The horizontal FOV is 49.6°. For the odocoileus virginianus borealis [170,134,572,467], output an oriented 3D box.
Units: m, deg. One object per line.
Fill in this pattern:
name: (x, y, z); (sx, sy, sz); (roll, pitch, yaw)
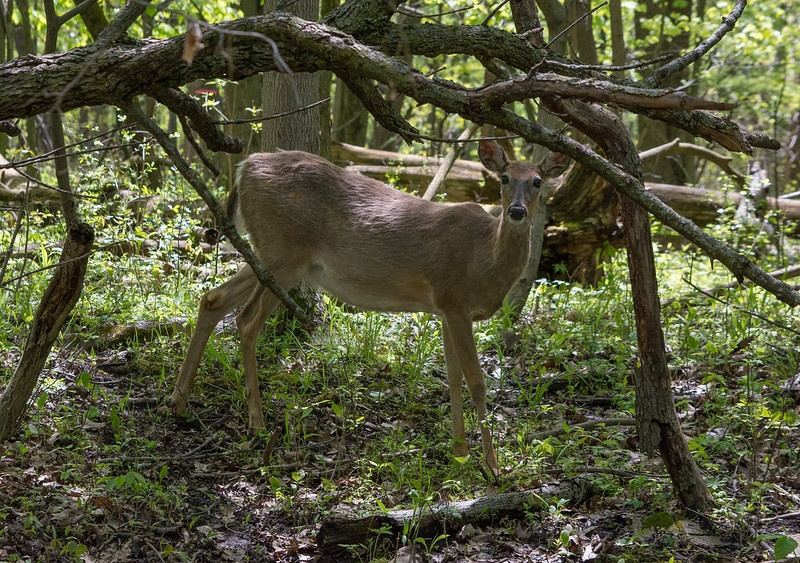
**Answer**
odocoileus virginianus borealis: (-0.050, 0.017, 7.402); (3.490, 2.684, 0.928); (7, -1, 7)
